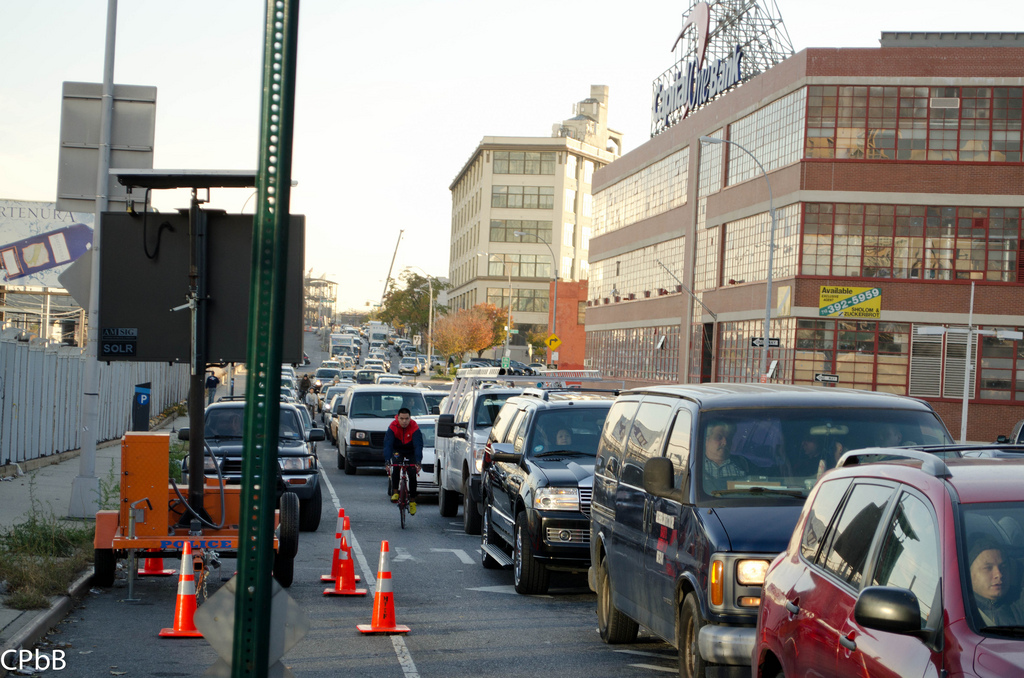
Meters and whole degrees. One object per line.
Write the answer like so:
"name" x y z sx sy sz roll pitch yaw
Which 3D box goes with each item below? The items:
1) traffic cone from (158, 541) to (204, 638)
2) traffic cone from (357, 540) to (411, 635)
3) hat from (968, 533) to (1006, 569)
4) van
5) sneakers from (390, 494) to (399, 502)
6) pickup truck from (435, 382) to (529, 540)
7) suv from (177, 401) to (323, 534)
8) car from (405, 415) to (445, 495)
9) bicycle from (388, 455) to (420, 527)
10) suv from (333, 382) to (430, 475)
"traffic cone" -3.561 2.738 10.780 0.429 0.873 1.133 3 -2 -18
"traffic cone" -1.577 2.772 11.414 0.808 1.155 0.839 0 0 -4
"hat" 2.619 1.160 5.552 0.138 0.177 0.190 2 -12 -1
"van" 2.078 1.640 9.834 2.060 1.786 3.530 1 -5 -12
"sneakers" -2.318 3.124 19.667 0.184 0.145 0.312 2 8 -4
"pickup truck" -0.637 2.149 19.926 1.633 1.615 2.880 1 -3 -11
"suv" -4.282 2.051 17.029 2.082 1.821 3.575 0 -6 -2
"car" -2.048 2.810 23.970 0.909 1.099 1.920 1 -4 -5
"bicycle" -2.088 2.866 18.945 0.455 1.025 1.091 3 -2 -12
"suv" -3.344 2.315 25.483 2.053 1.842 4.225 1 -5 -10
